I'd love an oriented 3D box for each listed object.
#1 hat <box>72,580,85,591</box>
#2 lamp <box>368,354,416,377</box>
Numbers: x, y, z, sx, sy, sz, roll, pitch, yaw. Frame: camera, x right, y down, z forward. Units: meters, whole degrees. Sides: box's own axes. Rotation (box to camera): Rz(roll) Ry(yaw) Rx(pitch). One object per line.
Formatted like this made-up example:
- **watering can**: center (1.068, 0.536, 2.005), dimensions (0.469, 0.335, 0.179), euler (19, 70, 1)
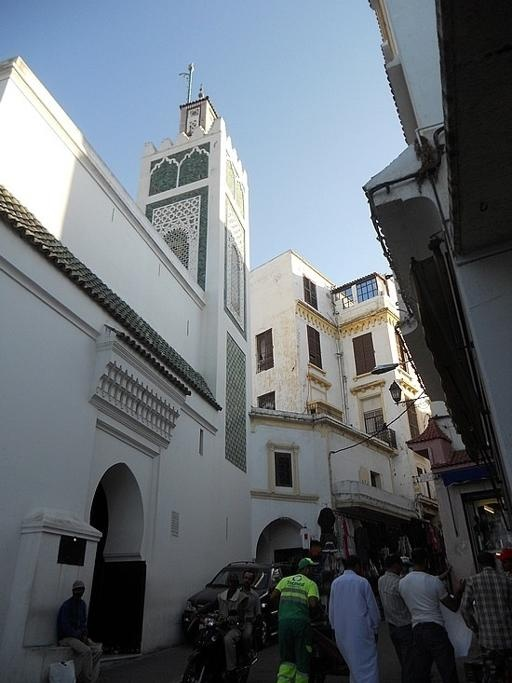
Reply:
- **hat**: center (-2.413, 3.308, 5.515), dimensions (0.126, 0.119, 0.209), euler (2, -25, -8)
- **lamp**: center (6.566, 1.134, 20.090), dimensions (2.270, 0.762, 1.503), euler (-6, -69, 0)
